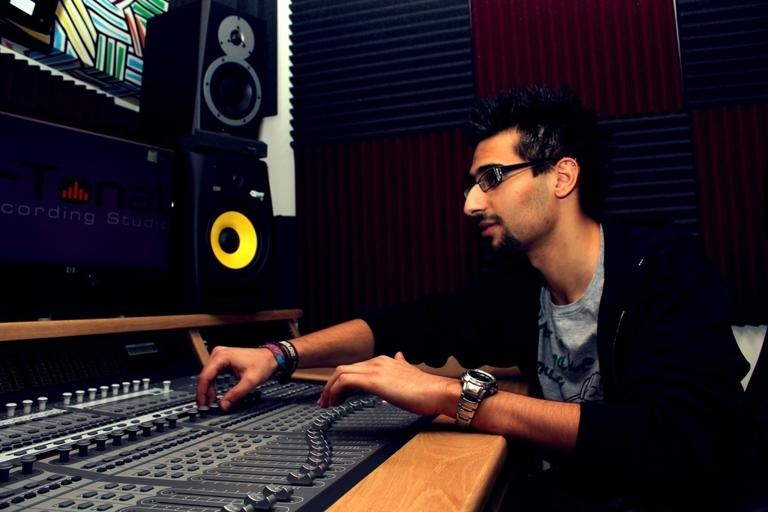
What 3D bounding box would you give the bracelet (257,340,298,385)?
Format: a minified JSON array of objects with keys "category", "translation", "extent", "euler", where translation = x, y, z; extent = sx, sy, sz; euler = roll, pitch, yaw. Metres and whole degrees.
[{"category":"bracelet","translation":[-0.342,0.351,1.908],"extent":[0.138,0.127,0.120],"euler":[7,7,25]}]
